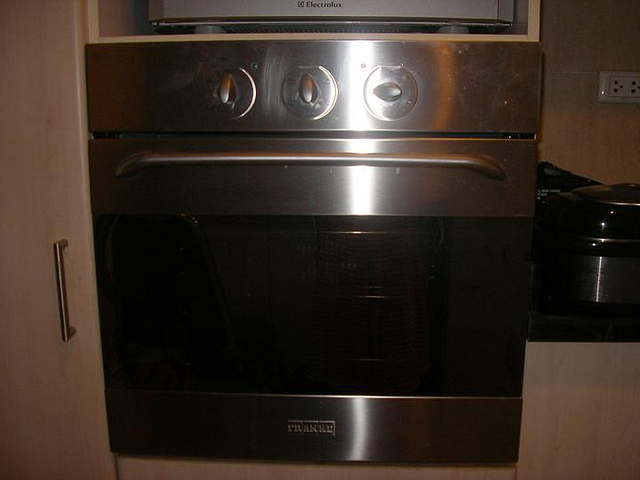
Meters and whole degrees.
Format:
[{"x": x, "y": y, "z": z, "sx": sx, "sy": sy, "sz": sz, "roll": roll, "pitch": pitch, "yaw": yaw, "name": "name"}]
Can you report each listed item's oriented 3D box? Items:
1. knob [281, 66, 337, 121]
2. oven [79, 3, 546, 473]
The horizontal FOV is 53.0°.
[{"x": -0.019, "y": -0.270, "z": 1.201, "sx": 0.094, "sy": 0.023, "sz": 0.093, "roll": 0, "pitch": -86, "yaw": 2, "name": "knob"}, {"x": -0.011, "y": 0.062, "z": 1.641, "sx": 1.022, "sy": 0.819, "sz": 1.273, "roll": 0, "pitch": -82, "yaw": 2, "name": "oven"}]
